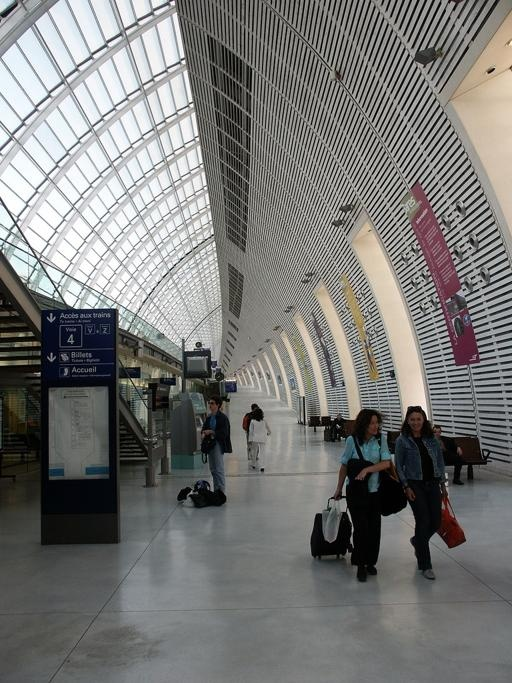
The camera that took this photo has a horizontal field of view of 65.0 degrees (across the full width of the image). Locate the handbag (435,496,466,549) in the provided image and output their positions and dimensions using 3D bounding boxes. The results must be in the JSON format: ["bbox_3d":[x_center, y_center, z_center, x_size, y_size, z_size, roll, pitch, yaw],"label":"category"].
[{"bbox_3d":[1.942,1.841,4.025,0.223,0.633,0.719,-5,-10,25],"label":"handbag"}]

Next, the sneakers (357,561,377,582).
[{"bbox_3d":[1.048,2.203,3.812,0.088,0.146,0.324,-4,-28,7],"label":"sneakers"}]

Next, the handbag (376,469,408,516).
[{"bbox_3d":[1.271,1.505,3.972,0.279,0.391,0.405,-2,-21,0],"label":"handbag"}]

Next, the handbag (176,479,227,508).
[{"bbox_3d":[-1.089,3.108,8.100,0.777,0.443,0.500,-8,0,2],"label":"handbag"}]

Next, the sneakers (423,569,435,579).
[{"bbox_3d":[1.584,2.146,3.704,0.100,0.056,0.125,-6,-11,19],"label":"sneakers"}]

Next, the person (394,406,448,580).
[{"bbox_3d":[1.566,1.415,3.851,0.469,1.545,0.227,0,-8,-12],"label":"person"}]

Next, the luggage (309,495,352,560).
[{"bbox_3d":[0.949,2.113,4.559,0.294,0.626,0.339,16,-29,-39],"label":"luggage"}]

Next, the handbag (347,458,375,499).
[{"bbox_3d":[0.981,1.331,3.886,0.250,0.371,0.177,-7,-10,29],"label":"handbag"}]

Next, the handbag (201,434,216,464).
[{"bbox_3d":[-0.953,2.080,8.109,0.280,0.370,0.271,0,-9,-10],"label":"handbag"}]
